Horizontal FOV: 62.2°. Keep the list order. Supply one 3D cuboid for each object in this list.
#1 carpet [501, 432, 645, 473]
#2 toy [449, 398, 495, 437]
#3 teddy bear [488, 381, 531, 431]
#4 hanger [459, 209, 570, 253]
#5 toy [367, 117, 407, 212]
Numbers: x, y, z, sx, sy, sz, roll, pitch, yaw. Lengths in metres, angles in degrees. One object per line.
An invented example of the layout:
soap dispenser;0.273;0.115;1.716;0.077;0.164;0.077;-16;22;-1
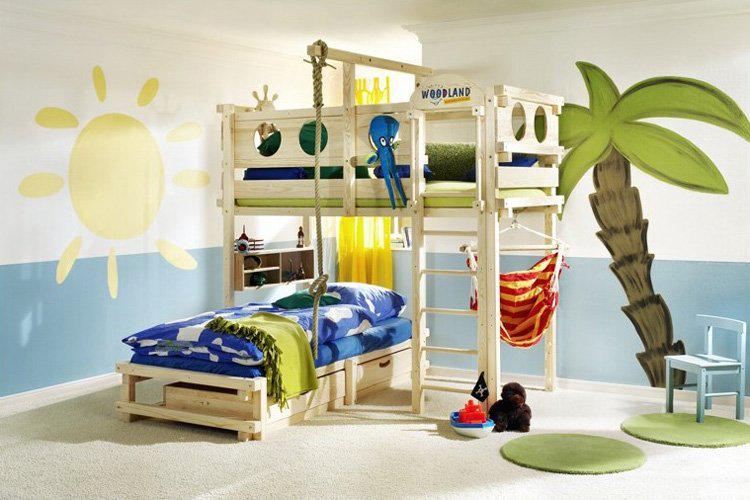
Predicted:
carpet;1.451;1.492;4.642;1.031;0.036;0.697;1;8;8
toy;0.785;1.343;5.036;0.348;0.240;0.290;1;8;8
teddy bear;1.085;1.285;5.159;0.440;0.435;0.329;3;-15;-4
hanger;1.330;-0.125;5.864;1.061;0.395;0.129;-2;-13;-28
toy;0.105;-0.755;5.372;0.336;0.800;0.197;0;9;3
